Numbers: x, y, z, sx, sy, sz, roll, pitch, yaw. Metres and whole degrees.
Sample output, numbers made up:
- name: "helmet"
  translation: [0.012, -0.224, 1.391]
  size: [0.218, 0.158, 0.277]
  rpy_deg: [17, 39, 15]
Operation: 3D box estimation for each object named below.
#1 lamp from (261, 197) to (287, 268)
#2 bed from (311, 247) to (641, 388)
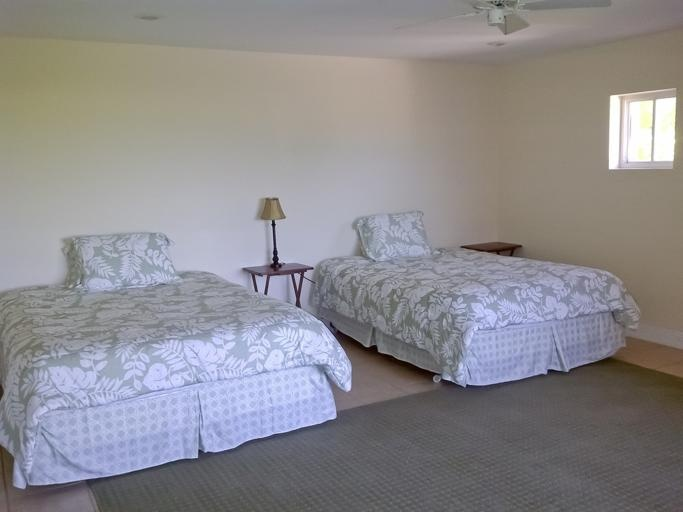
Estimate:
- name: "lamp"
  translation: [-0.643, -0.224, 4.818]
  size: [0.242, 0.644, 0.352]
  rpy_deg: [-4, 12, -7]
- name: "bed"
  translation: [0.707, 0.434, 4.139]
  size: [1.374, 0.513, 1.586]
  rpy_deg: [-4, 5, -33]
